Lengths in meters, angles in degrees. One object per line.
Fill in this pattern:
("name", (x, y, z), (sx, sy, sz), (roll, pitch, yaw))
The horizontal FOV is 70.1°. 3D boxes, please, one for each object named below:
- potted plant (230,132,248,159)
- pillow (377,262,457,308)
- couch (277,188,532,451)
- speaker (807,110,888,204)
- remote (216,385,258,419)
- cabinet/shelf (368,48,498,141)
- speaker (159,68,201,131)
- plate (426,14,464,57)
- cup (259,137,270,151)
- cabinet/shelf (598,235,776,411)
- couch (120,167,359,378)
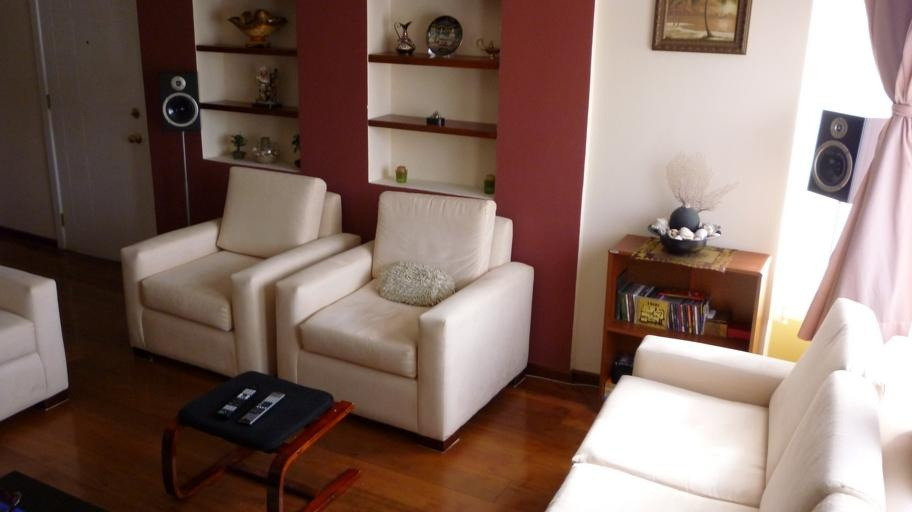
("potted plant", (-2.127, -1.078, 6.403), (0.141, 0.216, 0.293), (-6, 24, -16))
("pillow", (-0.316, 0.216, 5.099), (0.530, 0.167, 0.327), (11, 22, 24))
("couch", (-0.411, 0.366, 5.252), (1.684, 1.385, 1.581), (12, 23, 31))
("speaker", (2.743, -0.698, 4.559), (0.404, 0.568, 0.365), (9, 24, 19))
("remote", (-1.408, 0.951, 4.208), (0.099, 0.063, 0.271), (15, 33, 26))
("cabinet/shelf", (-0.154, -1.350, 5.541), (1.194, 0.664, 0.476), (7, 24, 15))
("speaker", (-2.573, -1.444, 6.093), (0.341, 0.512, 0.144), (-8, 25, -20))
("plate", (-0.091, -1.834, 5.468), (0.348, 0.324, 0.090), (15, 2, 20))
("cup", (-1.829, -1.083, 6.263), (0.115, 0.105, 0.174), (-5, 23, -13))
("cabinet/shelf", (1.723, 0.481, 4.711), (1.280, 1.189, 0.520), (6, 15, 17))
("couch", (-1.809, 0.106, 5.674), (1.662, 1.399, 1.558), (14, 25, 33))
